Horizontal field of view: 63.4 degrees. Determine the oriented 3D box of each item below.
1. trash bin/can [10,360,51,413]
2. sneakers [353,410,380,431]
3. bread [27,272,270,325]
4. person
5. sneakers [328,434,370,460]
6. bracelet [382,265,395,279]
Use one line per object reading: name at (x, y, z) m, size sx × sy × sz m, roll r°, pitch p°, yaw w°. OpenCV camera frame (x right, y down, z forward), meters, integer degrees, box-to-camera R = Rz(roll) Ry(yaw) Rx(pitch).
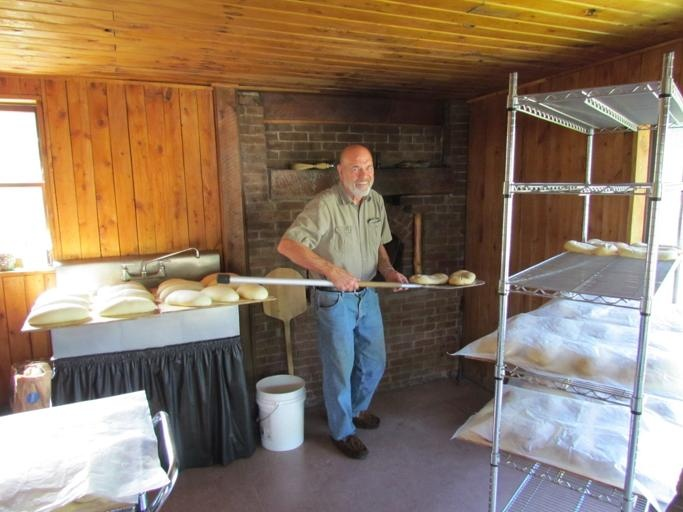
trash bin/can at (-1.934, 0.804, 3.451) m, size 0.245 × 0.241 × 0.353 m, roll -12°, pitch 12°, yaw -31°
sneakers at (0.193, 1.257, 4.261) m, size 0.216 × 0.076 × 0.102 m, roll -3°, pitch 13°, yaw -2°
bread at (-1.291, 0.288, 3.665) m, size 1.396 × 0.181 × 0.718 m, roll -8°, pitch 10°, yaw -23°
person at (0.109, 0.312, 3.882) m, size 0.597 × 2.147 × 0.818 m, roll 1°, pitch 13°, yaw 34°
sneakers at (0.059, 1.347, 3.935) m, size 0.261 × 0.095 × 0.123 m, roll 5°, pitch 8°, yaw 37°
bracelet at (0.341, 0.111, 4.016) m, size 0.047 × 0.044 × 0.167 m, roll -23°, pitch -12°, yaw -13°
